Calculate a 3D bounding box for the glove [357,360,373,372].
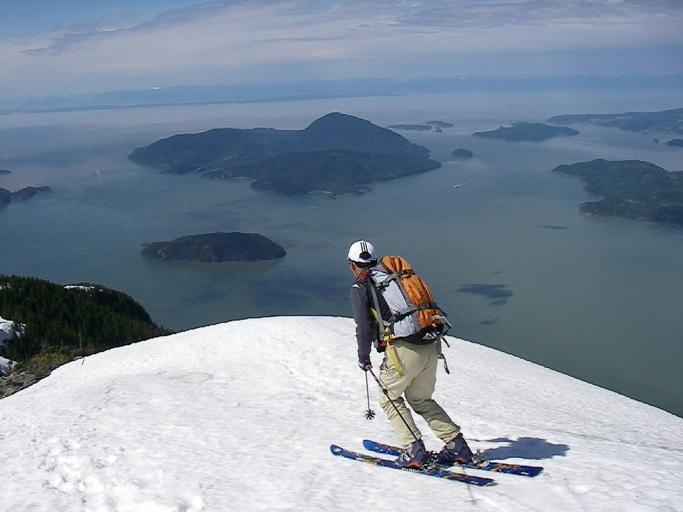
[{"bbox_3d":[0.371,1.717,9.054,0.173,0.180,0.219,5,-8,-28],"label":"glove"}]
